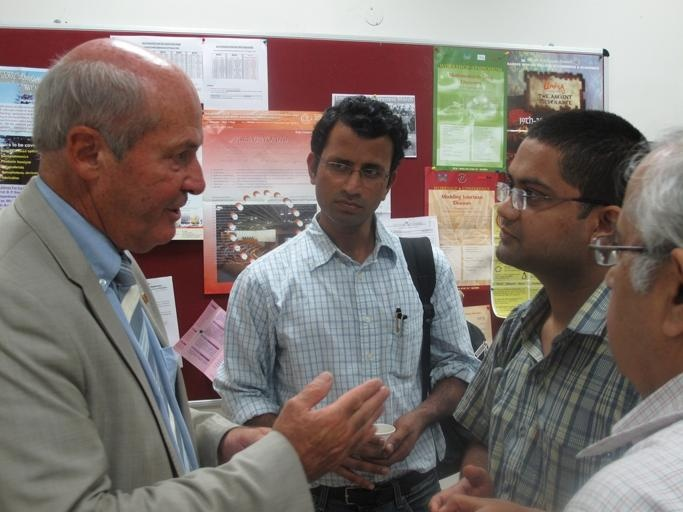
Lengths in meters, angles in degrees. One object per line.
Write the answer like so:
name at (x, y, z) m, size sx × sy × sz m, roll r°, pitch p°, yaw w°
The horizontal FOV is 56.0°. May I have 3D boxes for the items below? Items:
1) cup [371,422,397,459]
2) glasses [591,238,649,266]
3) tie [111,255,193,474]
cup at (0.125, 0.522, 1.887) m, size 0.093 × 0.095 × 0.111 m, roll 1°, pitch 2°, yaw 2°
glasses at (0.614, -0.009, 1.400) m, size 0.084 × 0.029 × 0.087 m, roll 1°, pitch 2°, yaw 6°
tie at (-0.457, 0.309, 1.672) m, size 0.052 × 0.516 × 0.187 m, roll -12°, pitch -5°, yaw -7°
